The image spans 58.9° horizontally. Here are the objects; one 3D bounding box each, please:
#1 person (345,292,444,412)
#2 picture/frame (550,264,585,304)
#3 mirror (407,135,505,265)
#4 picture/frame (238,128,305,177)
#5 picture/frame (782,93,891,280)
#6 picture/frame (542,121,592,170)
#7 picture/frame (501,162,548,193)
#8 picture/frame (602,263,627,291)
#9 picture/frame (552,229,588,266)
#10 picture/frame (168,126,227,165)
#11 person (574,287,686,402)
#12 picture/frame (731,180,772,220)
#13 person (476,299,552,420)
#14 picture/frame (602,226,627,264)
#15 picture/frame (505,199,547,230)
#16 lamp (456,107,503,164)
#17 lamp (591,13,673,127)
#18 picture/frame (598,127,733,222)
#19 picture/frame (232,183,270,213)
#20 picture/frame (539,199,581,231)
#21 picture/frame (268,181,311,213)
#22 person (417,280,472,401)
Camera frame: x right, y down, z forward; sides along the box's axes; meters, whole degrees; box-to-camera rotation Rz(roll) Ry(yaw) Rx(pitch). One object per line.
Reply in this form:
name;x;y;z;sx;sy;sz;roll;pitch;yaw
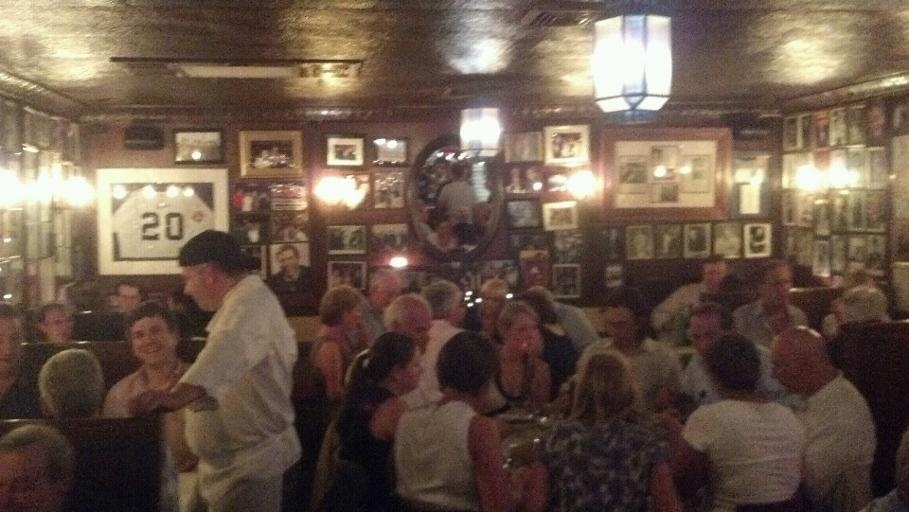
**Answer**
person;-0.336;0.580;5.121;0.406;0.611;0.728;8;0;26
picture/frame;0.702;0.183;4.977;0.292;0.286;0.051;0;-7;10
mirror;-0.005;-0.371;5.324;0.757;0.790;0.183;2;-2;15
picture/frame;-1.246;-0.712;5.435;0.406;0.269;0.030;-1;6;-8
picture/frame;2.404;-0.444;5.172;0.891;1.122;0.186;-1;3;-23
picture/frame;0.714;-0.688;5.040;0.391;0.292;0.029;0;-4;7
picture/frame;0.454;-0.494;5.113;0.251;0.089;0.301;0;-1;1
picture/frame;0.971;0.137;4.917;0.202;0.190;0.029;1;-9;0
picture/frame;0.721;-0.051;4.999;0.277;0.253;0.039;0;-5;13
picture/frame;-1.721;-0.738;5.347;0.339;0.199;0.022;0;-5;-10
person;1.077;0.564;4.869;0.772;0.719;0.463;-1;-5;38
picture/frame;1.823;-0.345;4.981;0.232;0.220;0.035;0;2;-9
person;0.330;0.646;4.884;0.541;0.676;0.606;-4;-13;29
picture/frame;0.971;-0.070;4.949;0.140;0.217;0.061;0;2;6
picture/frame;0.460;-0.260;5.103;0.251;0.188;0.058;-2;4;10
lamp;0.151;-0.797;5.344;0.371;0.316;0.331;0;-4;-1
lamp;0.955;-1.050;4.366;0.407;0.509;0.105;0;2;3
picture/frame;1.279;-0.476;4.987;0.728;0.417;0.051;1;-3;1
picture/frame;-1.364;-0.390;5.428;0.254;0.189;0.058;3;-4;-25
picture/frame;0.665;-0.252;5.029;0.246;0.173;0.030;0;-6;19
picture/frame;-1.131;-0.391;5.489;0.274;0.213;0.059;2;0;-7
person;-0.064;0.542;4.855;0.315;0.651;0.498;21;-31;-40
